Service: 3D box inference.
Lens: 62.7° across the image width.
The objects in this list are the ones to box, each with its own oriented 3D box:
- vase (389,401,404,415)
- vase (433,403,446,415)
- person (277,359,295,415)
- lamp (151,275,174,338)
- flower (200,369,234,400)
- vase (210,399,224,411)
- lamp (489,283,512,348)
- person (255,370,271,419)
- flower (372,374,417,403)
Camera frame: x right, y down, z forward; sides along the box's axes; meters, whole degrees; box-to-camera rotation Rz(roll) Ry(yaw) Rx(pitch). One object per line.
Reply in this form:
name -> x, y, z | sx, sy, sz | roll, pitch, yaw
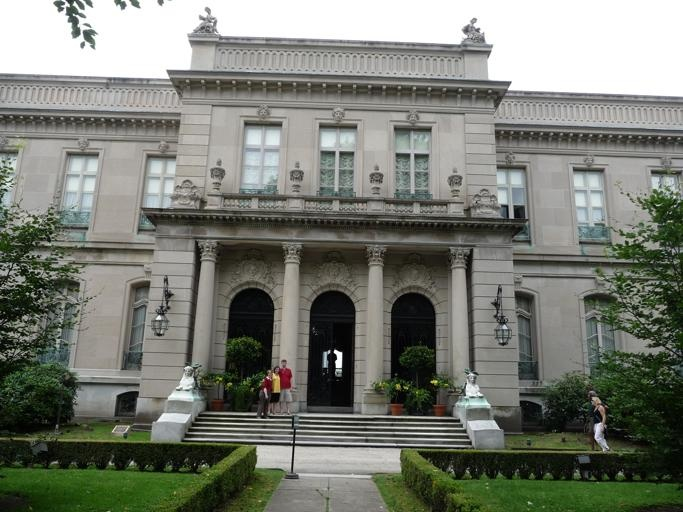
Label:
vase -> 2.363, 6.495, 24.081 | 0.573, 0.383, 0.555 | 0, -16, -2
vase -> 4.180, 6.527, 24.065 | 0.508, 0.338, 0.492 | 3, -14, -9
person -> -2.297, 5.339, 23.071 | 0.495, 2.117, 0.928 | 1, -13, 3
lamp -> -7.764, 2.103, 24.342 | 0.787, 2.663, 0.688 | 5, -13, -16
flower -> -5.434, 5.622, 24.385 | 1.389, 1.164, 1.263 | 3, -13, -9
vase -> -5.359, 6.351, 24.088 | 0.518, 0.324, 0.502 | 1, -5, -9
lamp -> 7.033, 2.552, 24.599 | 0.772, 2.697, 0.724 | 0, -13, 7
person -> -3.103, 5.563, 22.742 | 0.500, 1.791, 0.868 | 3, -13, -6
flower -> 2.213, 5.847, 24.691 | 1.499, 1.054, 1.475 | 9, -13, -35
